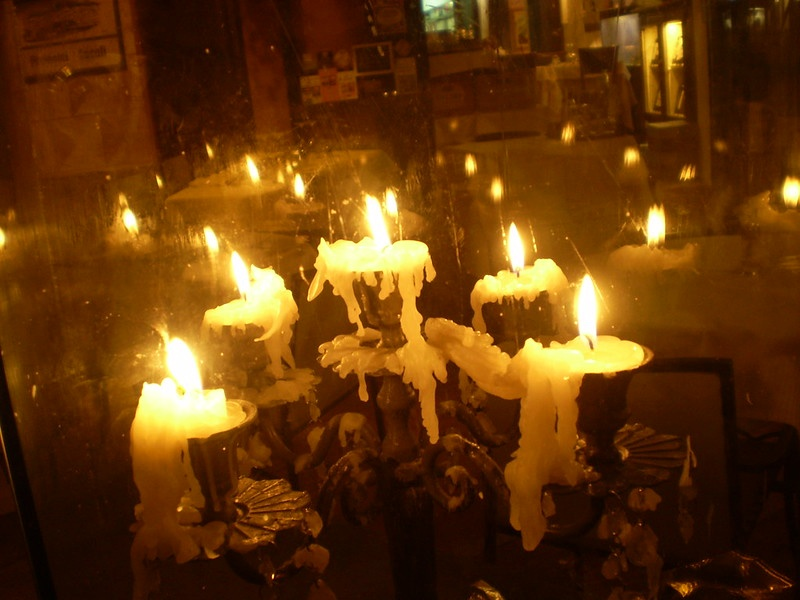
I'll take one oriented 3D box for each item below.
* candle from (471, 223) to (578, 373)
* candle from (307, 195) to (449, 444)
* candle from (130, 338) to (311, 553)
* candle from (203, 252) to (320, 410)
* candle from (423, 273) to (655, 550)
[{"bbox_3d":[0.149,0.005,1.105,0.145,0.223,0.153,-17,4,-1],"label":"candle"},{"bbox_3d":[-0.025,0.023,1.021,0.193,0.313,0.166,4,11,37],"label":"candle"},{"bbox_3d":[-0.239,0.177,1.057,0.211,0.252,0.226,-15,36,-30],"label":"candle"},{"bbox_3d":[-0.197,0.035,1.062,0.138,0.211,0.112,8,27,11],"label":"candle"},{"bbox_3d":[0.157,0.158,0.937,0.266,0.265,0.098,-3,10,19],"label":"candle"}]
